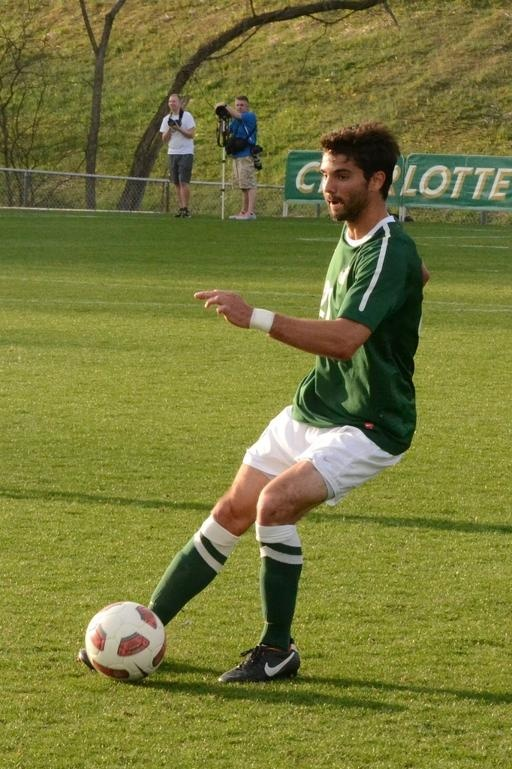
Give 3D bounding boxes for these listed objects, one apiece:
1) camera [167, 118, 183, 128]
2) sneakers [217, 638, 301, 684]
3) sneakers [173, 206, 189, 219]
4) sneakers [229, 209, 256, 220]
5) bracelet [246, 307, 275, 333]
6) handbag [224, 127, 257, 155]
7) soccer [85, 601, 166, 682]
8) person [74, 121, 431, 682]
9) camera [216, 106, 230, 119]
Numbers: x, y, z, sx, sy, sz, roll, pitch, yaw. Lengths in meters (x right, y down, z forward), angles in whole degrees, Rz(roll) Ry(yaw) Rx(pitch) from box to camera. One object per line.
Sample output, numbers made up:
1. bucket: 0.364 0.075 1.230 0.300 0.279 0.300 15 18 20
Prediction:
1. camera: -1.171 -3.768 16.037 0.171 0.089 0.217 1 10 -3
2. sneakers: 0.031 0.814 3.309 0.288 0.102 0.089 -2 -2 -16
3. sneakers: -1.182 -2.755 17.877 0.171 0.083 0.216 2 -22 -1
4. sneakers: -0.223 -2.740 18.131 0.365 0.120 0.198 3 -1 -41
5. bracelet: 0.012 -0.194 3.324 0.073 0.077 0.140 2 9 -3
6. handbag: -0.225 -3.450 15.931 0.383 0.170 0.285 10 5 -43
7. soccer: -0.385 0.755 3.287 0.231 0.178 0.207 2 9 -5
8. person: 0.139 0.004 3.494 0.909 1.639 0.517 -7 14 -44
9. camera: -0.498 -3.992 16.366 0.174 0.120 0.151 24 14 -20
